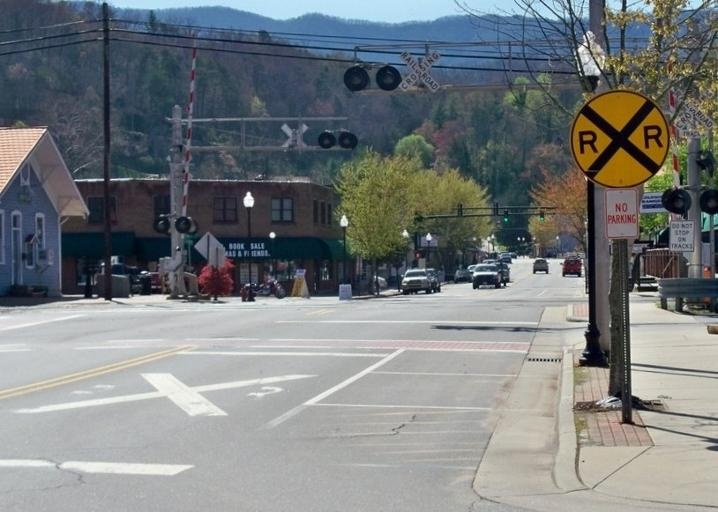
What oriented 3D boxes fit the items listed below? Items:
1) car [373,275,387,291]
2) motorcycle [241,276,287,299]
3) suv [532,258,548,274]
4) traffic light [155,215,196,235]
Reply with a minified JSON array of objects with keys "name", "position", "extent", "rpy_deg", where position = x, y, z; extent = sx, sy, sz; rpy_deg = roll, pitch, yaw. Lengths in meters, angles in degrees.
[{"name":"car","position":[1.312,1.782,78.081],"extent":[0.858,1.012,2.789],"rpy_deg":[-7,-4,2]},{"name":"motorcycle","position":[-4.933,1.742,60.599],"extent":[2.333,1.401,1.269],"rpy_deg":[-5,6,-1]},{"name":"suv","position":[18.659,1.015,123.892],"extent":[1.425,1.586,2.282],"rpy_deg":[-2,-1,8]},{"name":"traffic light","position":[-8.035,-1.388,52.306],"extent":[1.139,0.507,1.188],"rpy_deg":[0,-2,4]}]
